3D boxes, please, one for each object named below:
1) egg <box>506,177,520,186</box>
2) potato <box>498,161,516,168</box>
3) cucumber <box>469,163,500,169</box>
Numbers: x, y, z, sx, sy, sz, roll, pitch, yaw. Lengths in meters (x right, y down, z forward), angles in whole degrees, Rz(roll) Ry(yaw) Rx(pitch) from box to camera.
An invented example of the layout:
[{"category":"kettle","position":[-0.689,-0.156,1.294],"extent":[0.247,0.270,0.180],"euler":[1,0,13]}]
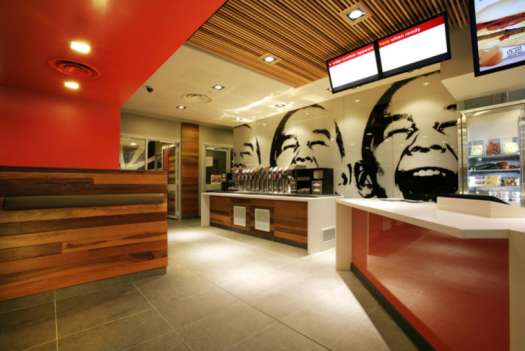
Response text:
[{"category":"egg","position":[3.752,0.096,4.742],"extent":[0.175,0.120,0.078],"euler":[9,17,32]},{"category":"potato","position":[3.705,-0.157,4.811],"extent":[0.117,0.068,0.168],"euler":[3,-5,24]},{"category":"cucumber","position":[3.450,-0.138,4.933],"extent":[0.398,0.112,0.124],"euler":[1,-5,26]}]
